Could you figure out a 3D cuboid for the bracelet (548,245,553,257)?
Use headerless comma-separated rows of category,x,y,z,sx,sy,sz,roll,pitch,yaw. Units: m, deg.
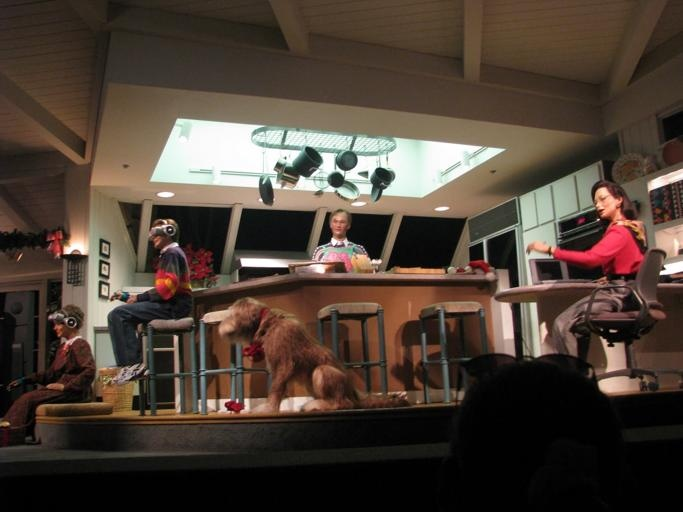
bracelet,1.397,-0.046,3.825,0.017,0.063,0.064,8,-42,20

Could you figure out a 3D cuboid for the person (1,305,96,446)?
person,-2.612,1.031,5.107,0.814,1.217,0.572,-7,-12,24

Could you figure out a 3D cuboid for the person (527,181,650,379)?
person,1.782,0.164,4.160,0.766,1.352,0.641,0,2,15

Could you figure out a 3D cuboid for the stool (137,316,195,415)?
stool,-1.298,0.821,4.364,0.455,0.614,0.464,-1,-9,25

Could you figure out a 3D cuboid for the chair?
chair,1.959,0.461,3.928,0.645,0.901,0.778,-7,-11,25

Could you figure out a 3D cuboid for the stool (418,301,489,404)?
stool,0.876,0.757,4.491,0.571,0.776,0.598,-9,-14,23

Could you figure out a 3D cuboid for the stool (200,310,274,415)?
stool,-0.899,0.816,4.293,0.397,0.598,0.390,-1,-11,-2

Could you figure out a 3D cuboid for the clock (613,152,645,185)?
clock,3.018,-0.922,6.007,0.148,0.332,0.396,0,-11,-11

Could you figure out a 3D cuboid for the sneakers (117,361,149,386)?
sneakers,-1.569,0.876,4.264,0.115,0.050,0.167,-3,16,23

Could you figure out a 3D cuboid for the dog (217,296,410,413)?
dog,-0.298,0.612,3.690,1.194,0.738,0.446,-9,-12,31

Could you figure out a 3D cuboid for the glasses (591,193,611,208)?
glasses,1.828,-0.385,4.029,0.105,0.062,0.079,12,-17,-25

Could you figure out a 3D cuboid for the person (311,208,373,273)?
person,-0.031,-0.227,6.672,0.746,0.751,0.387,1,-12,-5

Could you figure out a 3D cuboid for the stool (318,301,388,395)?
stool,0.085,0.731,4.293,0.514,0.699,0.495,9,-20,-41

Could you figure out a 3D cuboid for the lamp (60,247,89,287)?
lamp,-3.338,0.152,7.154,0.296,0.468,0.290,0,11,-25

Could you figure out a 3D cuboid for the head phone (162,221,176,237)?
head phone,-1.464,-0.224,4.838,0.109,0.081,0.062,1,5,-33
